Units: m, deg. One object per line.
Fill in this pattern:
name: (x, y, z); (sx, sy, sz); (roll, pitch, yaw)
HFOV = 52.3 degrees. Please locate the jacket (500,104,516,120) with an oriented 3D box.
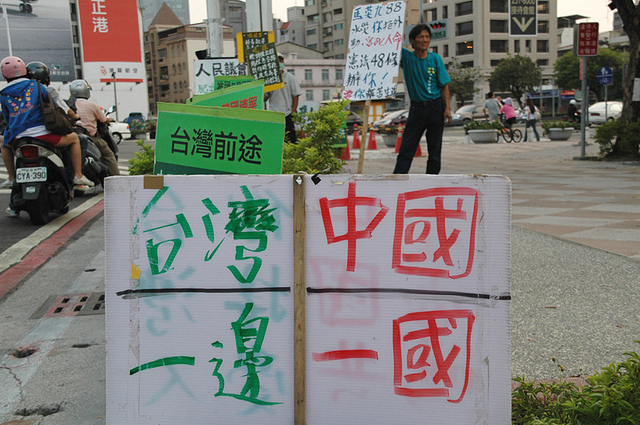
jacket: (6.885, -3.641, 23.802); (0.515, 0.551, 0.594); (1, 10, 16)

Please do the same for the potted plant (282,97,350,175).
potted plant: (-0.045, -0.869, 7.546); (0.728, 0.864, 1.110); (4, 11, 27)

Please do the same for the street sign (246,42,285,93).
street sign: (-0.816, -2.124, 9.538); (0.478, 0.716, 0.769); (-3, 10, -10)

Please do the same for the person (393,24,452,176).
person: (1.281, -1.385, 8.146); (0.616, 1.870, 0.760); (7, 13, 40)

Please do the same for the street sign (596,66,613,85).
street sign: (10.778, -5.136, 24.663); (0.456, 0.640, 1.201); (2, 11, 21)

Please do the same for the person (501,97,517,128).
person: (6.988, -3.652, 24.181); (0.507, 1.083, 1.790); (1, 11, 16)

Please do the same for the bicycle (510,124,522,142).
bicycle: (7.343, -2.911, 24.394); (0.333, 0.608, 0.983); (3, 11, 23)

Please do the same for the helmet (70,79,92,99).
helmet: (-3.979, -2.070, 10.852); (0.291, 0.335, 0.363); (21, 27, 36)

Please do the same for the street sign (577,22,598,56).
street sign: (6.203, -4.003, 15.090); (0.503, 0.776, 0.487); (5, 12, 30)

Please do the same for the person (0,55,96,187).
person: (-3.800, -1.184, 8.613); (0.956, 1.734, 0.736); (2, 10, 19)

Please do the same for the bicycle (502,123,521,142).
bicycle: (7.079, -2.875, 24.332); (1.014, 0.644, 0.494); (-13, 11, -34)

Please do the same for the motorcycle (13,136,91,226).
motorcycle: (-3.935, -0.709, 9.457); (0.881, 1.366, 2.446); (-2, 14, -13)

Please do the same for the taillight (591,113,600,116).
taillight: (15.365, -5.406, 36.300); (0.072, 0.146, 0.510); (-6, 11, -25)

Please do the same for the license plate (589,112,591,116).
license plate: (15.248, -5.495, 36.785); (0.077, 0.184, 0.197); (1, 10, 17)

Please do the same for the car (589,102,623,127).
car: (15.714, -5.413, 36.017); (1.500, 1.209, 3.575); (2, 11, 21)

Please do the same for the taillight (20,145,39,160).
taillight: (-3.746, -0.764, 8.360); (0.181, 0.163, 0.025); (-2, 6, -16)
